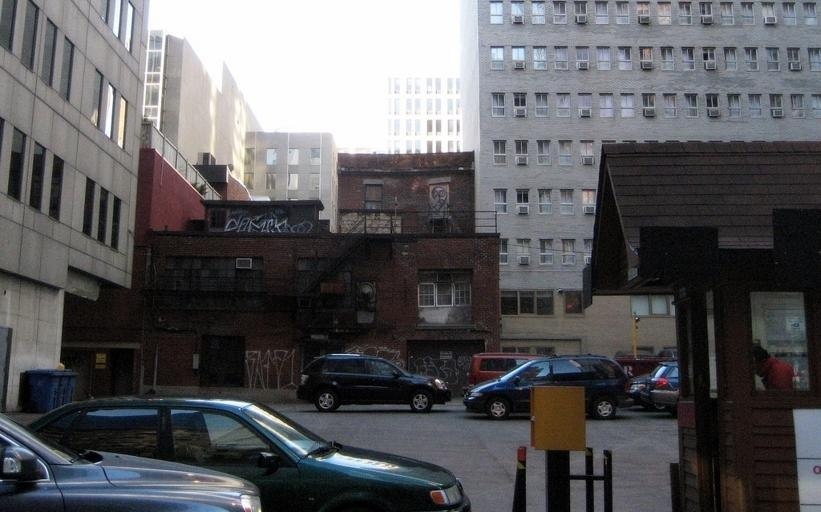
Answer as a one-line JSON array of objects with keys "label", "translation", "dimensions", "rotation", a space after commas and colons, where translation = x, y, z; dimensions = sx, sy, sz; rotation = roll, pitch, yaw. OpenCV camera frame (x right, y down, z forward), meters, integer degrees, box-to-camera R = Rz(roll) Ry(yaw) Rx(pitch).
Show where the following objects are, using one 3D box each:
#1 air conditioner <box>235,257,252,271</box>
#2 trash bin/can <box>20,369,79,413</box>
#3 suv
[{"label": "air conditioner", "translation": [-8.371, 0.349, 50.203], "dimensions": [1.023, 0.643, 0.531], "rotation": [1, -3, 4]}, {"label": "trash bin/can", "translation": [-14.314, 6.047, 39.916], "dimensions": [1.919, 2.278, 3.226], "rotation": [-1, -5, 6]}, {"label": "suv", "translation": [-1.889, 5.380, 42.160], "dimensions": [6.100, 2.750, 2.384], "rotation": [0, -3, 3]}]
